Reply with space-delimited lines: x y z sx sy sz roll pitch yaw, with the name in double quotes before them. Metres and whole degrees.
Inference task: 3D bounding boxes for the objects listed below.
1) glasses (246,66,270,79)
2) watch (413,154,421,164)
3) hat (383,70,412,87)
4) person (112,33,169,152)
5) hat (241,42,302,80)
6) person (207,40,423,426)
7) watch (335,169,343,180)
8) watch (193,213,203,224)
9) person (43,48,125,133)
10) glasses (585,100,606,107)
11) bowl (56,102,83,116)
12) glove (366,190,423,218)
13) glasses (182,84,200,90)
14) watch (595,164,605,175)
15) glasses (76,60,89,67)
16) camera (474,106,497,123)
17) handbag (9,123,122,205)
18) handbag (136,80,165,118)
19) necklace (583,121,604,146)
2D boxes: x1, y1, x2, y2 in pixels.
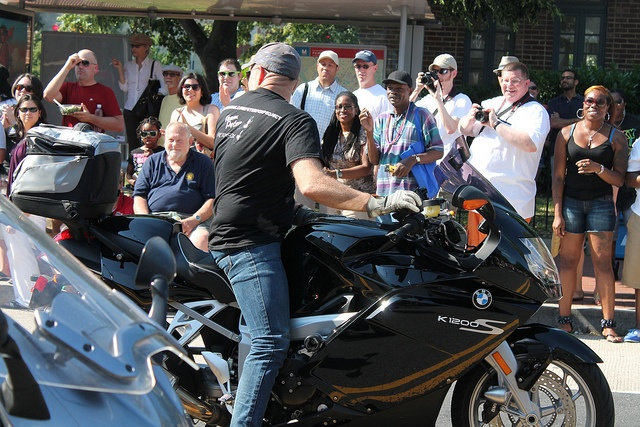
"glasses" -0.421 -0.973 4.607 0.150 0.048 0.147 0 9 -13
"watch" 1.012 -0.563 6.925 0.055 0.094 0.091 3 -1 3
"hat" 0.871 -1.456 7.237 0.262 0.132 0.188 13 -5 -39
"person" -2.857 -1.705 10.798 0.791 2.311 0.592 -1 -2 -3
"hat" -0.315 -1.030 4.587 0.302 0.170 0.232 24 11 13
"person" -0.216 0.274 4.367 1.091 2.163 0.523 2 6 4
"watch" 0.200 -0.432 7.284 0.076 0.092 0.035 -1 -3 -12
"watch" -1.162 0.049 6.393 0.084 0.056 0.085 37 -38 -9
"person" -3.189 -1.444 9.016 0.991 1.546 0.892 1 -1 -9
"glasses" 2.863 -1.159 6.958 0.191 0.076 0.055 4 6 14
"bowl" -3.207 -1.361 8.624 0.267 0.116 0.261 1 -5 0
"glove" 0.452 -0.058 4.111 0.318 0.134 0.177 1 23 26
"glasses" -1.648 -1.615 8.560 0.207 0.082 0.058 4 6 17
"watch" 2.880 -0.457 6.855 0.078 0.093 0.038 9 5 27
"glasses" -3.143 -1.999 8.899 0.147 0.091 0.057 1 6 -12
"camera" 1.732 -1.033 7.001 0.154 0.065 0.153 26 -7 -36
"handbag" -1.872 -0.292 5.066 0.720 0.671 0.587 4 -13 9
"handbag" -2.684 -1.744 10.496 0.256 0.643 0.473 9 31 -38
"necklace" 2.879 -0.829 7.040 0.075 0.248 0.014 20 10 13
